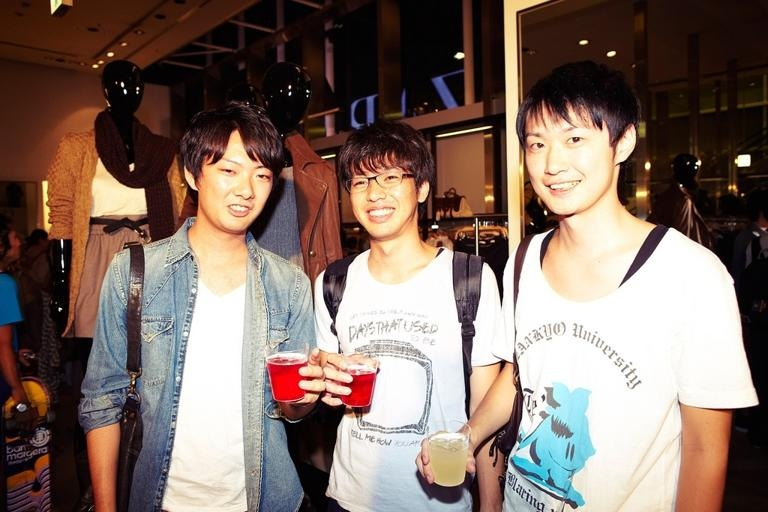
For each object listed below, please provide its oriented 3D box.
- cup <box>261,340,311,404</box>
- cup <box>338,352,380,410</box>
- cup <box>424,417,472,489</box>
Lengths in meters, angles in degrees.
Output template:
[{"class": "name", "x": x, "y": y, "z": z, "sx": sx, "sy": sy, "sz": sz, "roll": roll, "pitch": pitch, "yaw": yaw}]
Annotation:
[{"class": "cup", "x": -0.468, "y": 0.584, "z": 2.639, "sx": 0.165, "sy": 0.290, "sz": 0.189, "roll": 1, "pitch": -3, "yaw": -43}, {"class": "cup", "x": -0.123, "y": 0.620, "z": 2.728, "sx": 0.235, "sy": 0.261, "sz": 0.238, "roll": 0, "pitch": -6, "yaw": 0}, {"class": "cup", "x": 0.286, "y": 0.891, "z": 2.486, "sx": 0.230, "sy": 0.263, "sz": 0.251, "roll": -1, "pitch": -8, "yaw": 0}]
